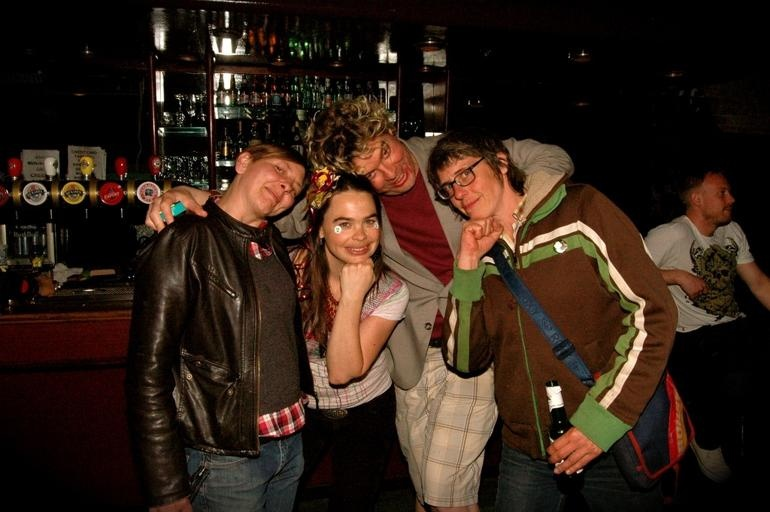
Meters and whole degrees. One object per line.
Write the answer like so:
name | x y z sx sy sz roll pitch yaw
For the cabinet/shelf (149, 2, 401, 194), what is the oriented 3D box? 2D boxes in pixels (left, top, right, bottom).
cabinet/shelf | -1.098 -1.566 5.799 2.015 1.705 0.615 -1 -1 -6

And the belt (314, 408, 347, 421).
belt | -0.369 1.081 4.156 0.113 0.029 0.113 0 4 -31

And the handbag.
handbag | 1.640 1.083 3.722 0.488 0.626 0.134 -5 8 -20

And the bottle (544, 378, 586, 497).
bottle | 1.138 1.177 3.843 0.218 0.884 0.326 0 8 17
